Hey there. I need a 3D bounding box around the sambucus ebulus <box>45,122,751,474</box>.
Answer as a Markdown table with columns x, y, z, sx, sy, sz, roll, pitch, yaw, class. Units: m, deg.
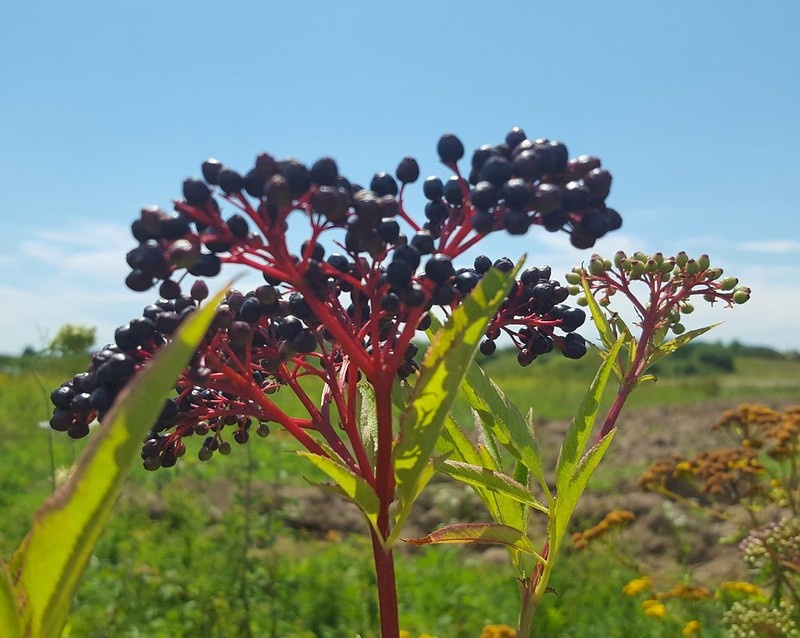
| x | y | z | sx | sy | sz | roll | pitch | yaw | class |
| --- | --- | --- | --- | --- | --- | --- | --- | --- | --- |
| -0.439 | -0.542 | 5.812 | 3.201 | 1.452 | 2.081 | -10 | -36 | -22 | sambucus ebulus |
